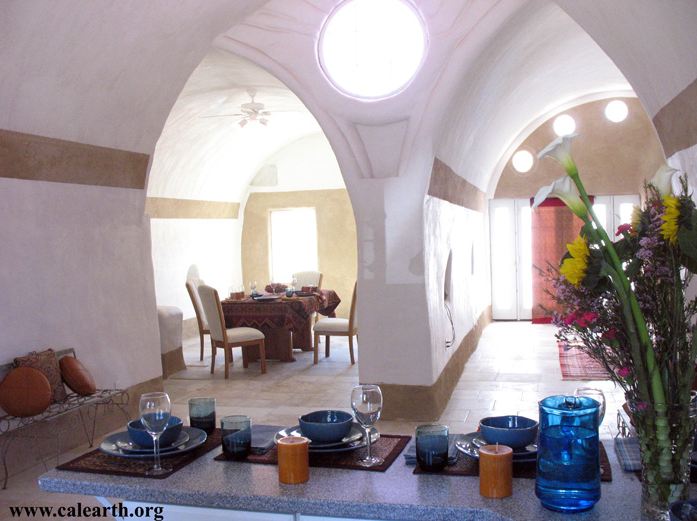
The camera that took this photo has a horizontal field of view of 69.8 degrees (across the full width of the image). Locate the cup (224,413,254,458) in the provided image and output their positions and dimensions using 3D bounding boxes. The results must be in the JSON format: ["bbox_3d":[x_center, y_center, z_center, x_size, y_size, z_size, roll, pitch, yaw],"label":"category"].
[{"bbox_3d":[-0.405,0.643,1.813,0.126,0.153,0.131,-5,-19,-2],"label":"cup"}]

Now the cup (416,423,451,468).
[{"bbox_3d":[0.287,0.606,1.675,0.116,0.146,0.106,-1,5,0],"label":"cup"}]

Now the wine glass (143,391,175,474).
[{"bbox_3d":[-0.654,0.582,1.711,0.101,0.248,0.118,0,5,9],"label":"wine glass"}]

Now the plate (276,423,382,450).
[{"bbox_3d":[-0.077,0.652,1.826,0.182,0.034,0.190,1,2,18],"label":"plate"}]

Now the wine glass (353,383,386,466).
[{"bbox_3d":[0.073,0.554,1.794,0.099,0.263,0.252,-1,5,2],"label":"wine glass"}]

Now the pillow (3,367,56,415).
[{"bbox_3d":[-2.288,0.927,3.571,0.308,0.338,0.188,-4,5,-32],"label":"pillow"}]

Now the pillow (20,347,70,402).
[{"bbox_3d":[-2.312,0.887,3.880,0.108,0.368,0.341,-6,1,37],"label":"pillow"}]

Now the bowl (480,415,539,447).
[{"bbox_3d":[0.542,0.601,1.781,0.182,0.088,0.202,1,-4,-9],"label":"bowl"}]

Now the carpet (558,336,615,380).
[{"bbox_3d":[3.369,1.397,7.186,0.618,0.012,1.557,-7,9,26],"label":"carpet"}]

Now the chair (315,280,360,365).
[{"bbox_3d":[-0.100,0.885,7.593,0.694,1.245,0.742,1,-2,18],"label":"chair"}]

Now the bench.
[{"bbox_3d":[-2.004,1.060,3.456,0.344,0.680,1.074,2,3,4],"label":"bench"}]

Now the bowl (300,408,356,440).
[{"bbox_3d":[-0.072,0.603,1.865,0.202,0.092,0.196,-1,4,0],"label":"bowl"}]
